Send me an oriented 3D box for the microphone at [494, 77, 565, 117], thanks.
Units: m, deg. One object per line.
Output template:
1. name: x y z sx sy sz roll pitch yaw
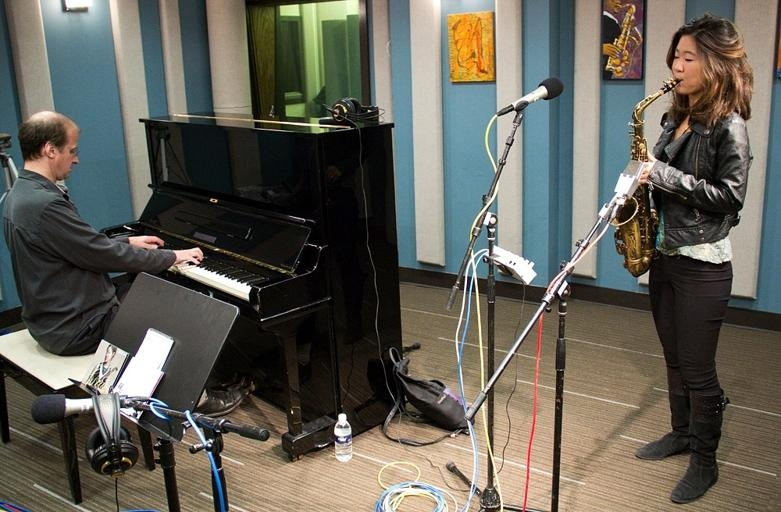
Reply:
1. microphone: 0.705 -0.845 3.225 0.429 0.153 0.226 -18 23 -39

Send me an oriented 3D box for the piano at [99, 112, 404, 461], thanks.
1. piano: -1.150 0.080 4.611 1.173 2.052 2.263 -17 22 -41

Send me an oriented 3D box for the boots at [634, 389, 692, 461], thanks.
1. boots: 1.707 1.038 3.819 0.360 0.425 0.145 -3 13 11

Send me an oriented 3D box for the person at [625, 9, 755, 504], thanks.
1. person: 1.657 0.058 3.437 0.541 2.653 0.704 7 21 31

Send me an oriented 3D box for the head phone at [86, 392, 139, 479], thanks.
1. head phone: -1.245 0.780 2.712 0.195 0.357 0.327 -9 12 -31

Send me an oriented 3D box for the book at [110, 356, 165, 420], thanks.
1. book: -1.174 0.634 2.865 0.293 0.269 0.069 8 -14 38

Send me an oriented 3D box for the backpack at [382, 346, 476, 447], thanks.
1. backpack: 0.191 0.991 4.119 0.674 0.288 0.475 12 66 23

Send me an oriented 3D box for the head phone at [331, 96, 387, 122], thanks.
1. head phone: -0.237 -0.950 4.028 0.269 0.105 0.222 4 12 5

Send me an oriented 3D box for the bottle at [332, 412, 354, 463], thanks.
1. bottle: -0.316 1.151 3.984 0.128 0.300 0.222 -5 18 -5
